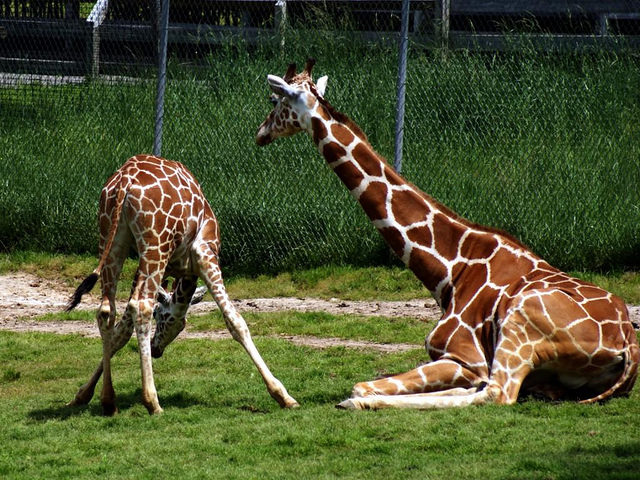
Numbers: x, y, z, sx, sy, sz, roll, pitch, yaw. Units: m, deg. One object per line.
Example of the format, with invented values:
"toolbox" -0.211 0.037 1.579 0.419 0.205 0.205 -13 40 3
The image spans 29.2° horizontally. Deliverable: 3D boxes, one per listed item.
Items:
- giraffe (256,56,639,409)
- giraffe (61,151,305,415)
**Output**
"giraffe" 1.293 -0.045 11.693 3.437 3.094 1.406 5 16 27
"giraffe" -1.398 0.419 13.346 1.873 3.158 3.617 -6 -10 20
